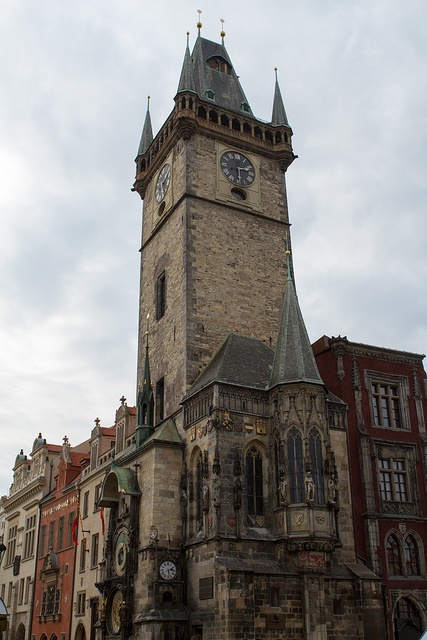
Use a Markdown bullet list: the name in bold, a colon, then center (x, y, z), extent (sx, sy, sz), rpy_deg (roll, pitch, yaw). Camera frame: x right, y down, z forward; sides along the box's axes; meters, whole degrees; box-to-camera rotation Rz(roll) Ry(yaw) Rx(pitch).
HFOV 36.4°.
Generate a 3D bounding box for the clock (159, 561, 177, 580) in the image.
- **clock**: center (-1.654, 8.993, 23.446), extent (0.693, 0.636, 0.220), rpy_deg (20, -30, -38)
